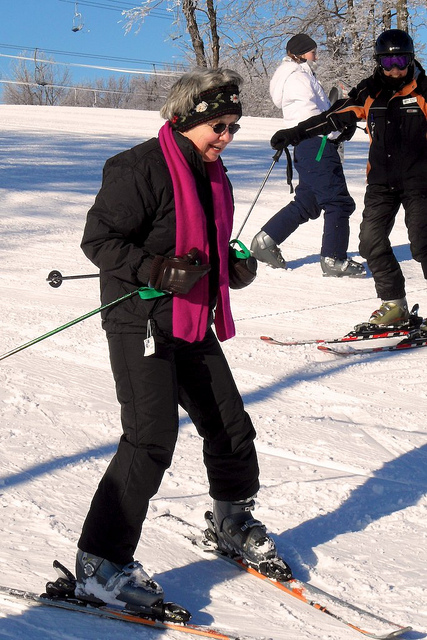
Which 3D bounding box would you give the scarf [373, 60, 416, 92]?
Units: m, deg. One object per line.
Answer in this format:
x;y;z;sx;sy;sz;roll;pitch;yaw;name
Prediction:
1.382;-1.811;4.354;0.220;0.134;0.253;1;-29;8;scarf

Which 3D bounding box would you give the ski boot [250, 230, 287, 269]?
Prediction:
0.671;-0.820;6.741;0.468;0.429;0.309;9;8;3;ski boot

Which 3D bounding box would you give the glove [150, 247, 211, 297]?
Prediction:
-0.093;-0.141;1.602;0.165;0.128;0.057;7;8;-9;glove

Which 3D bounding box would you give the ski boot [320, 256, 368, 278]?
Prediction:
1.451;-0.607;6.593;0.586;0.263;0.209;0;21;5;ski boot

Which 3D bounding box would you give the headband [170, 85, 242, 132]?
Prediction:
-0.013;-0.655;1.764;0.215;0.183;0.161;7;8;-12;headband

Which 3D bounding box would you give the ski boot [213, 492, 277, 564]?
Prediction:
0.110;0.738;2.058;0.293;0.242;0.100;14;9;37;ski boot

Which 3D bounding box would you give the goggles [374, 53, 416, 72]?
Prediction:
1.343;-1.905;4.252;0.236;0.126;0.125;8;7;1;goggles
